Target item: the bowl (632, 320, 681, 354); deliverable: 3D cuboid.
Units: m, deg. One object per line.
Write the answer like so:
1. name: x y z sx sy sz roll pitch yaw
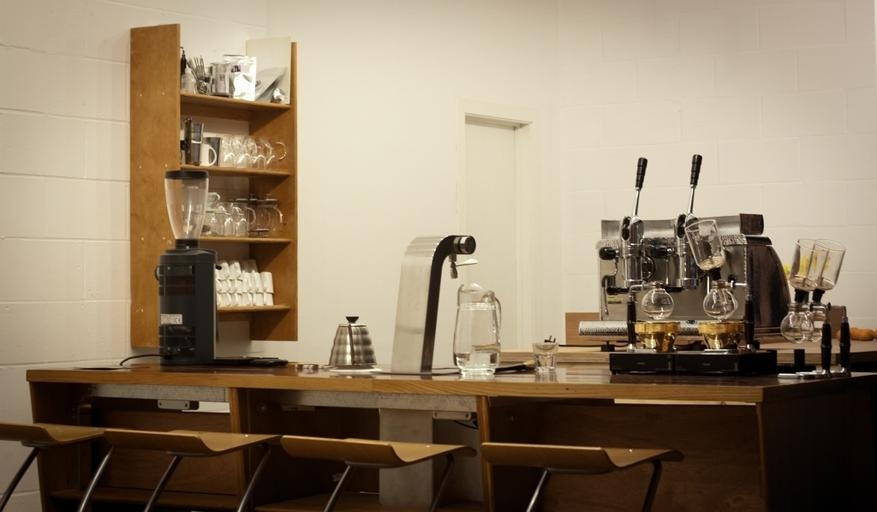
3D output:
1. bowl: 0.921 0.336 3.023 0.175 0.130 0.221 0 0 18

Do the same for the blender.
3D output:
1. blender: -1.291 0.047 3.674 0.286 0.983 0.292 0 1 -20

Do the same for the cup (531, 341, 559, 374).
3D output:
1. cup: 0.426 0.436 3.046 0.135 0.130 0.126 0 -9 0

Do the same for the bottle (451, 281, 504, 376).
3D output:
1. bottle: 0.156 0.303 2.952 0.178 0.364 0.218 0 0 0

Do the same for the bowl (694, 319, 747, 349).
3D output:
1. bowl: 1.158 0.319 2.965 0.150 0.093 0.140 1 -5 0
